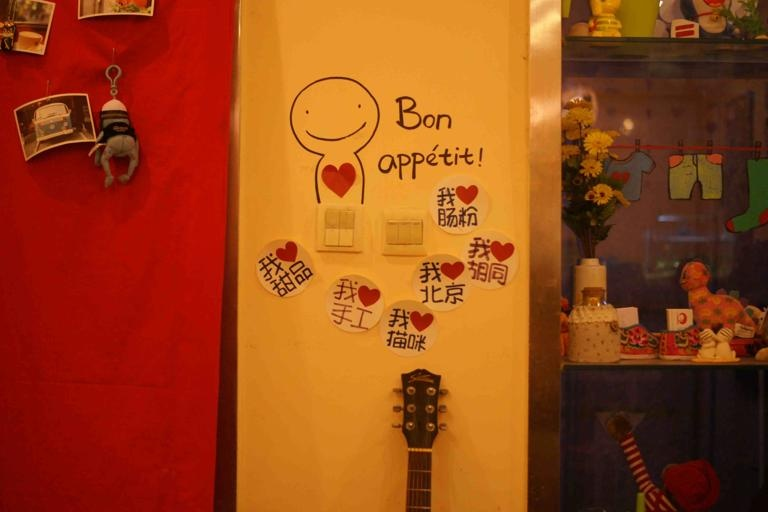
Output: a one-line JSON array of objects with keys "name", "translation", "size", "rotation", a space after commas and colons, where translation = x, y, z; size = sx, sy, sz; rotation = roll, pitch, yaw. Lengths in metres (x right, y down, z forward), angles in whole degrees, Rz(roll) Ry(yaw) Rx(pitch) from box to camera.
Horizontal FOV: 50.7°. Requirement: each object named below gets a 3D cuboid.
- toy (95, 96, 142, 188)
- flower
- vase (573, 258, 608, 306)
[{"name": "toy", "translation": [-1.091, -0.492, 3.314], "size": [0.151, 0.400, 0.133], "rotation": [-1, -7, -19]}, {"name": "flower", "translation": [0.928, -0.364, 3.581], "size": [0.279, 0.733, 0.253], "rotation": [0, 1, 15]}, {"name": "vase", "translation": [0.882, 0.113, 3.502], "size": [0.154, 0.314, 0.168], "rotation": [0, -3, 4]}]
